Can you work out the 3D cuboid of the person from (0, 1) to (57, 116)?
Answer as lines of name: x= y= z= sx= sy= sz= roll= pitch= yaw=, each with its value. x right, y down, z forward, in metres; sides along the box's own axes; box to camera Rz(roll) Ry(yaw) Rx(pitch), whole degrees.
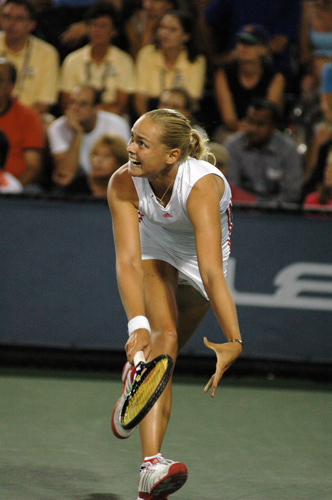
person: x=-0.958 y=-1.300 z=4.346 sx=0.439 sy=0.695 sz=0.200 roll=22 pitch=34 yaw=24

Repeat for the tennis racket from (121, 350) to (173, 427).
tennis racket: x=-0.064 y=0.464 z=2.102 sx=0.048 sy=0.170 sz=0.429 roll=37 pitch=-1 yaw=-6

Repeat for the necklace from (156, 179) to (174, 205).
necklace: x=-0.008 y=-0.221 z=2.356 sx=0.047 sy=0.070 sz=0.038 roll=35 pitch=15 yaw=26

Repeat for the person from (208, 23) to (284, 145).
person: x=0.556 y=-1.137 z=4.315 sx=0.659 sy=0.754 sz=0.661 roll=-12 pitch=23 yaw=-26

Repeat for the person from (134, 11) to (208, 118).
person: x=0.024 y=-1.297 z=4.430 sx=0.509 sy=0.687 sz=0.278 roll=4 pitch=31 yaw=-5

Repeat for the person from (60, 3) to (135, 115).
person: x=-0.476 y=-1.314 z=4.414 sx=0.497 sy=0.727 sz=0.219 roll=2 pitch=31 yaw=-9

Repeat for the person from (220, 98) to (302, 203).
person: x=0.639 y=-0.627 z=4.470 sx=0.613 sy=0.838 sz=0.505 roll=5 pitch=28 yaw=16
